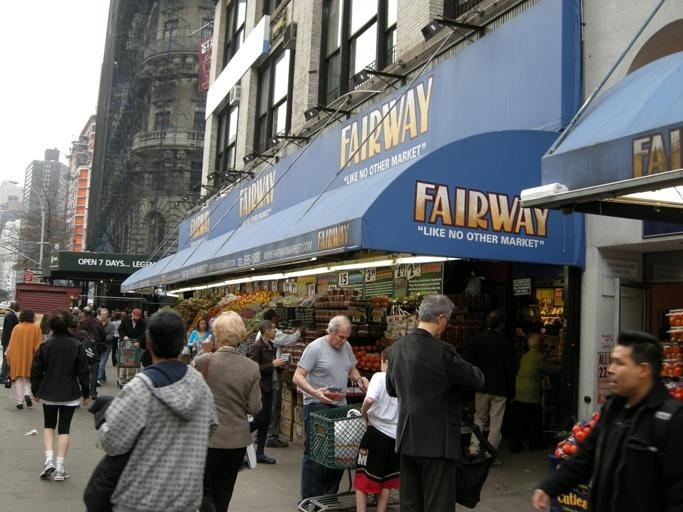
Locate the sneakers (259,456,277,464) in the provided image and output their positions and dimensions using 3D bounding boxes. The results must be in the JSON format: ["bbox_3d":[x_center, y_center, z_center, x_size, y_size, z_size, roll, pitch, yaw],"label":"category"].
[{"bbox_3d":[-1.116,3.033,11.229,0.239,0.102,0.097,1,-3,-8],"label":"sneakers"}]

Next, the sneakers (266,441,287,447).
[{"bbox_3d":[-1.074,3.096,12.412,0.375,0.158,0.118,3,-4,-12],"label":"sneakers"}]

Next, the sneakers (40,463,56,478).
[{"bbox_3d":[-3.952,2.874,10.158,0.191,0.230,0.255,4,-5,-27],"label":"sneakers"}]

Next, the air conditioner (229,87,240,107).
[{"bbox_3d":[-3.469,-5.140,24.297,0.202,0.553,0.583,9,-27,-20],"label":"air conditioner"}]

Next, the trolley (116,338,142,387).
[{"bbox_3d":[-5.253,2.619,18.643,0.646,1.158,0.686,0,-1,-6],"label":"trolley"}]

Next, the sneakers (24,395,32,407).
[{"bbox_3d":[-6.328,2.940,15.245,0.106,0.320,0.124,-5,9,-12],"label":"sneakers"}]

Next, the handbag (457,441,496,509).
[{"bbox_3d":[1.311,2.170,7.528,0.372,0.666,0.298,1,-5,3],"label":"handbag"}]

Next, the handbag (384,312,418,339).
[{"bbox_3d":[0.903,1.111,12.024,0.434,0.351,0.597,5,-10,-33],"label":"handbag"}]

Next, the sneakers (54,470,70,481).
[{"bbox_3d":[-3.752,2.934,10.130,0.200,0.146,0.184,4,-6,-29],"label":"sneakers"}]
